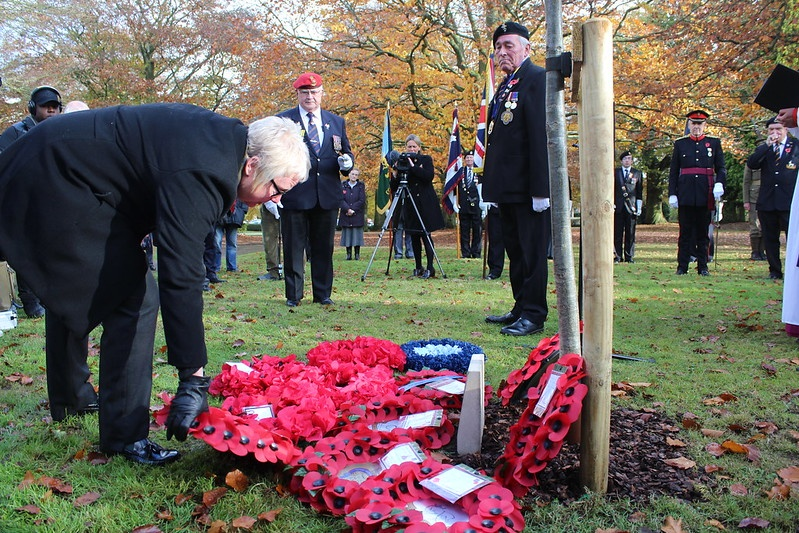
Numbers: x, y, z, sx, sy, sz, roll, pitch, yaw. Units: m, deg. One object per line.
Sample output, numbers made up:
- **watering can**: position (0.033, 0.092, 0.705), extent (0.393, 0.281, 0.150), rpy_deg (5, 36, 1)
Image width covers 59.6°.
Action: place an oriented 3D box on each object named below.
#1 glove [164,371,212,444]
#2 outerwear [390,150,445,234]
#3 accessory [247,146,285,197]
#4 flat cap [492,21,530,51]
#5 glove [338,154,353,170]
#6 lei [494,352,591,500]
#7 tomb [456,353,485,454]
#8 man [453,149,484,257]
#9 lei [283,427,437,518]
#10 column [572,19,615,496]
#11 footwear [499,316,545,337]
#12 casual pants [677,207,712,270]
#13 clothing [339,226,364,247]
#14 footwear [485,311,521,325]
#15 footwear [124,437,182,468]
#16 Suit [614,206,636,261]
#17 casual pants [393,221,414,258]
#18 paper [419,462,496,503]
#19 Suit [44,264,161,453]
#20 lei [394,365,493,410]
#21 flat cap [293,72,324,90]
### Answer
- **glove**: position (-1.268, 0.836, 4.238), extent (0.273, 0.394, 0.156), rpy_deg (-21, -50, 23)
- **outerwear**: position (0.290, -1.168, 11.025), extent (0.803, 1.279, 0.743), rpy_deg (1, 4, -6)
- **accessory**: position (-0.821, -0.569, 4.345), extent (0.242, 0.095, 0.187), rpy_deg (26, 1, 33)
- **flat cap**: position (1.079, -2.255, 6.716), extent (0.325, 0.232, 0.299), rpy_deg (2, 4, 7)
- **glove**: position (-0.602, -1.241, 8.184), extent (0.145, 0.180, 0.177), rpy_deg (7, -19, 6)
- **lei**: position (0.863, 0.939, 4.154), extent (0.179, 0.793, 0.623), rpy_deg (28, 14, -8)
- **tomb**: position (0.478, 0.923, 4.580), extent (0.213, 0.583, 0.628), rpy_deg (5, 4, 11)
- **man**: position (1.527, -1.305, 14.862), extent (0.763, 2.223, 0.652), rpy_deg (-3, 3, 12)
- **lei**: position (-0.251, 1.319, 4.521), extent (1.010, 0.263, 0.974), rpy_deg (6, -43, -1)
- **column**: position (1.152, -0.054, 4.152), extent (0.317, 2.788, 0.208), rpy_deg (3, 4, 17)
- **footwear**: position (1.195, 0.583, 6.723), extent (0.410, 0.139, 0.167), rpy_deg (1, -4, -14)
- **casual pants**: position (4.758, -0.492, 11.179), extent (0.490, 1.295, 0.425), rpy_deg (1, -14, 19)
- **clothing**: position (-1.040, -0.608, 15.542), extent (0.610, 0.687, 0.393), rpy_deg (0, 0, -11)
- **footwear**: position (1.070, 0.520, 7.188), extent (0.359, 0.132, 0.129), rpy_deg (3, 2, 19)
- **footwear**: position (-1.598, 1.190, 4.538), extent (0.394, 0.135, 0.142), rpy_deg (4, 10, 4)
- **Suit**: position (4.432, -0.624, 13.628), extent (0.356, 1.008, 0.520), rpy_deg (3, 4, 13)
- **casual pants**: position (0.069, -0.690, 15.914), extent (0.300, 1.086, 0.355), rpy_deg (4, -33, -23)
- **paper**: position (0.336, 1.263, 4.100), extent (0.255, 0.020, 0.232), rpy_deg (-19, 26, -35)
- **Suit**: position (-1.945, 0.595, 4.540), extent (0.783, 1.603, 0.461), rpy_deg (18, 24, 25)
- **lei**: position (0.177, 0.905, 5.066), extent (0.486, 0.126, 0.479), rpy_deg (17, 10, 7)
- **flat cap**: position (-1.051, -2.135, 8.026), extent (0.290, 0.229, 0.310), rpy_deg (1, 4, -10)
